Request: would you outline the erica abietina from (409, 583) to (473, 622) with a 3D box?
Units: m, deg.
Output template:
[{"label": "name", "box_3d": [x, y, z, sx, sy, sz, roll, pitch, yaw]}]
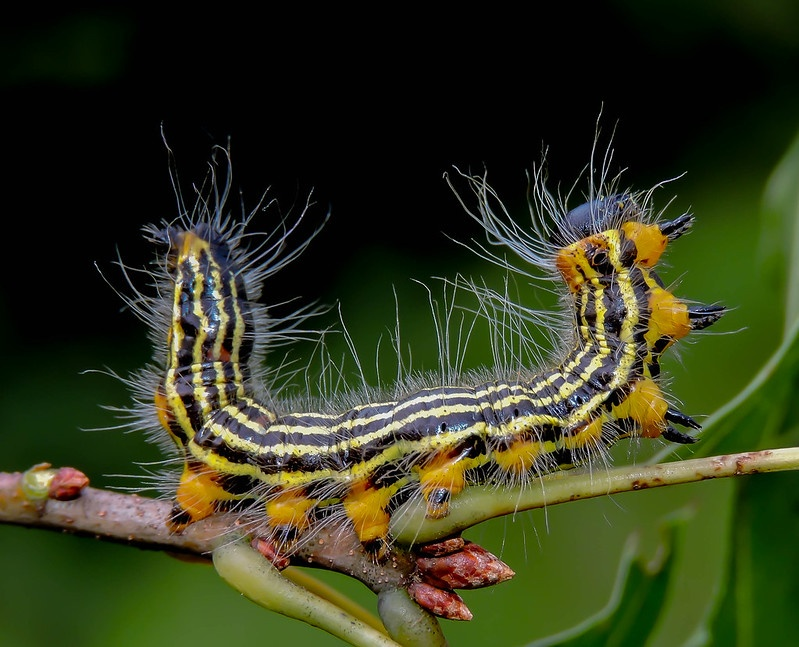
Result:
[{"label": "erica abietina", "box_3d": [0.108, 0.719, 2.428, 0.156, 0.078, 0.046, 21, -15, 5]}]

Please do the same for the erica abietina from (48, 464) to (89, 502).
[{"label": "erica abietina", "box_3d": [-0.886, 0.424, 2.511, 0.095, 0.071, 0.040, -8, -29, -3]}]

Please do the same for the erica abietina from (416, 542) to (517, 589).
[{"label": "erica abietina", "box_3d": [0.175, 0.645, 2.479, 0.276, 0.084, 0.148, -4, 26, 21]}]
